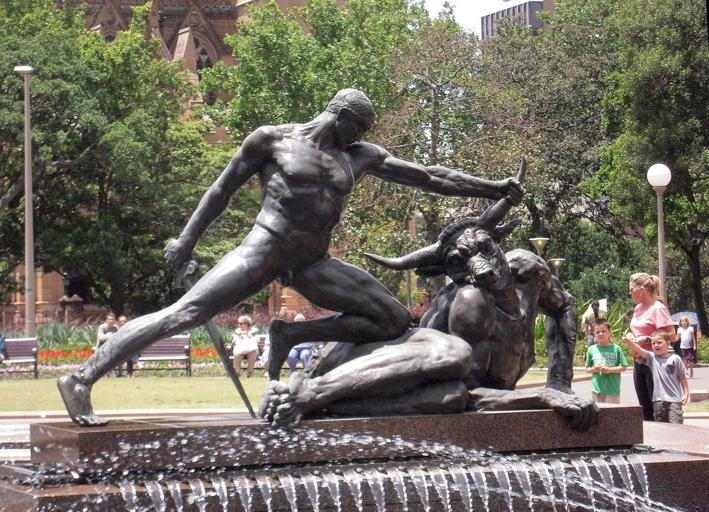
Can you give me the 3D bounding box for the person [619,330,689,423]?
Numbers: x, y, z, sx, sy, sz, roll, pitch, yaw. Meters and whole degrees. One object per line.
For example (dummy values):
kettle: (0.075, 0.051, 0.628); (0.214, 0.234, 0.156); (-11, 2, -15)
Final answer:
person: (4.951, 1.904, 18.255); (0.972, 1.454, 0.674); (1, -3, 8)
